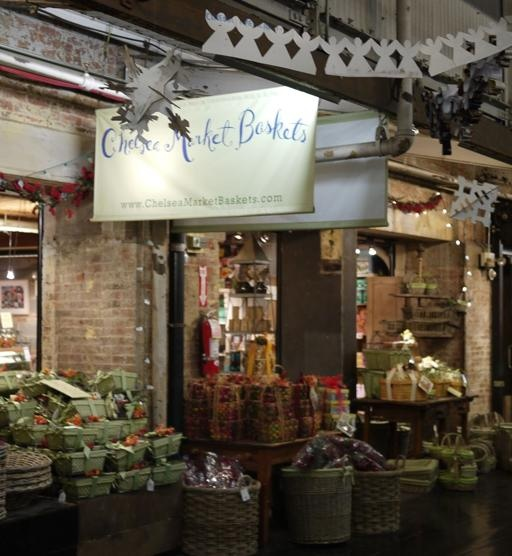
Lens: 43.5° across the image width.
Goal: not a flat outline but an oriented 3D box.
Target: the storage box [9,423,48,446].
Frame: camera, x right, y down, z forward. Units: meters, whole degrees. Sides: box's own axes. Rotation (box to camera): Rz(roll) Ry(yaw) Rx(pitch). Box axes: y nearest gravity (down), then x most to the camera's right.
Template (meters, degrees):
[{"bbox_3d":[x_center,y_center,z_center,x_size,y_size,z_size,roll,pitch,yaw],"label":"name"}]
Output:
[{"bbox_3d":[-1.358,0.934,3.854,0.178,0.071,0.158,3,-10,1],"label":"storage box"}]

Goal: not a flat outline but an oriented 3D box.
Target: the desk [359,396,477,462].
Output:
[{"bbox_3d":[1.904,1.677,7.258,1.456,0.549,0.726,7,-12,-43],"label":"desk"}]

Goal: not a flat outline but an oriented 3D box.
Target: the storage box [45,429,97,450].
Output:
[{"bbox_3d":[-1.075,0.942,3.771,0.303,0.137,0.187,1,-5,-19],"label":"storage box"}]

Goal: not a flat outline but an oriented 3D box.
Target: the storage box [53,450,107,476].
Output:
[{"bbox_3d":[-1.005,1.057,3.725,0.172,0.093,0.207,-5,-9,33],"label":"storage box"}]

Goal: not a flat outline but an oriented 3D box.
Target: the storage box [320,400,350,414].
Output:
[{"bbox_3d":[0.678,1.106,5.512,0.190,0.075,0.125,1,-3,-29],"label":"storage box"}]

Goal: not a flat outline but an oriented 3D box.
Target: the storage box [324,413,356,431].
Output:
[{"bbox_3d":[0.712,1.220,5.502,0.198,0.098,0.179,0,-4,8],"label":"storage box"}]

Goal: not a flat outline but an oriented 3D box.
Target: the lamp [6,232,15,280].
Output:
[{"bbox_3d":[-2.149,-0.175,5.604,0.063,0.386,0.124,1,-5,-12],"label":"lamp"}]

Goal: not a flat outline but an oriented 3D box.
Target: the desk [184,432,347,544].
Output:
[{"bbox_3d":[0.130,1.828,5.198,1.033,0.830,1.064,-6,-21,45],"label":"desk"}]

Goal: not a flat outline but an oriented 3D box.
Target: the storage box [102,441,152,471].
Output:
[{"bbox_3d":[-0.803,1.087,3.922,0.168,0.070,0.208,3,-7,-32],"label":"storage box"}]

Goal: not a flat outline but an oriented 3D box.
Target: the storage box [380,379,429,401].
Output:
[{"bbox_3d":[1.554,1.199,6.830,0.322,0.125,0.296,1,-1,-25],"label":"storage box"}]

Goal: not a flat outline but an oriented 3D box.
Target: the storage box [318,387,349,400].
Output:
[{"bbox_3d":[0.655,0.986,5.548,0.155,0.063,0.142,2,-4,-28],"label":"storage box"}]

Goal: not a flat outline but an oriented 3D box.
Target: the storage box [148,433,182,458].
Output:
[{"bbox_3d":[-0.618,1.136,4.301,0.157,0.155,0.284,-1,-4,15],"label":"storage box"}]

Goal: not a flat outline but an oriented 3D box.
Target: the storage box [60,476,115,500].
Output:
[{"bbox_3d":[-0.967,1.193,3.726,0.163,0.081,0.213,-7,-8,43],"label":"storage box"}]

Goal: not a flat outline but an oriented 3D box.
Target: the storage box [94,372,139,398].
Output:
[{"bbox_3d":[-0.992,0.731,4.553,0.234,0.125,0.231,0,0,-44],"label":"storage box"}]
